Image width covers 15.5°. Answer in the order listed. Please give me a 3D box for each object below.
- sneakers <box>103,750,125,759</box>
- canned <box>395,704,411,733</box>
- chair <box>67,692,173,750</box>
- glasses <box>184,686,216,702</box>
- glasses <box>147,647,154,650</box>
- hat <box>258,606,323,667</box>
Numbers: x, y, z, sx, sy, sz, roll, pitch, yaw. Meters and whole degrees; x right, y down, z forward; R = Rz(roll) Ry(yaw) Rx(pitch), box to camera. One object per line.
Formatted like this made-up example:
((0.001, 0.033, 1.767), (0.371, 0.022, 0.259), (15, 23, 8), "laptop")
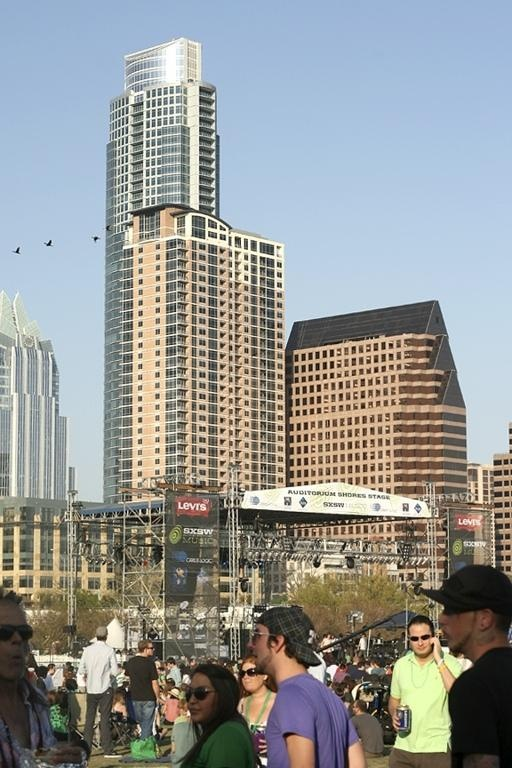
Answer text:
((-1.544, 3.925, 19.882), (0.246, 0.119, 0.099), (1, -4, 6), "sneakers")
((0.952, 2.246, 12.534), (0.107, 0.192, 0.110), (-8, -12, 30), "canned")
((-1.499, 4.143, 23.228), (0.321, 0.608, 0.949), (3, -3, 39), "chair")
((-0.307, 1.567, 9.519), (0.144, 0.074, 0.037), (-7, -12, 27), "glasses")
((-1.133, 2.749, 19.533), (0.074, 0.019, 0.070), (-16, -15, 37), "glasses")
((0.160, 1.239, 9.377), (0.320, 0.245, 0.238), (29, 6, 17), "hat")
